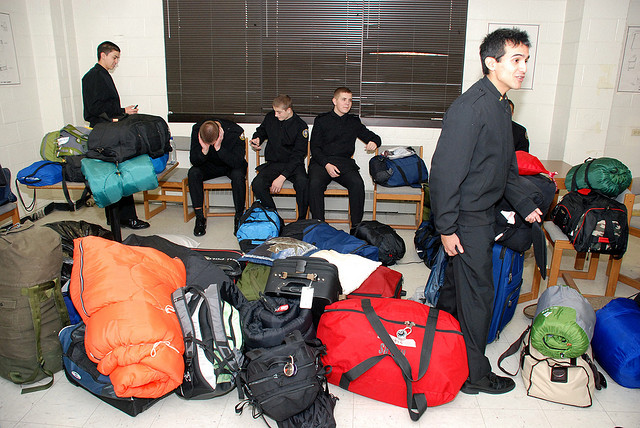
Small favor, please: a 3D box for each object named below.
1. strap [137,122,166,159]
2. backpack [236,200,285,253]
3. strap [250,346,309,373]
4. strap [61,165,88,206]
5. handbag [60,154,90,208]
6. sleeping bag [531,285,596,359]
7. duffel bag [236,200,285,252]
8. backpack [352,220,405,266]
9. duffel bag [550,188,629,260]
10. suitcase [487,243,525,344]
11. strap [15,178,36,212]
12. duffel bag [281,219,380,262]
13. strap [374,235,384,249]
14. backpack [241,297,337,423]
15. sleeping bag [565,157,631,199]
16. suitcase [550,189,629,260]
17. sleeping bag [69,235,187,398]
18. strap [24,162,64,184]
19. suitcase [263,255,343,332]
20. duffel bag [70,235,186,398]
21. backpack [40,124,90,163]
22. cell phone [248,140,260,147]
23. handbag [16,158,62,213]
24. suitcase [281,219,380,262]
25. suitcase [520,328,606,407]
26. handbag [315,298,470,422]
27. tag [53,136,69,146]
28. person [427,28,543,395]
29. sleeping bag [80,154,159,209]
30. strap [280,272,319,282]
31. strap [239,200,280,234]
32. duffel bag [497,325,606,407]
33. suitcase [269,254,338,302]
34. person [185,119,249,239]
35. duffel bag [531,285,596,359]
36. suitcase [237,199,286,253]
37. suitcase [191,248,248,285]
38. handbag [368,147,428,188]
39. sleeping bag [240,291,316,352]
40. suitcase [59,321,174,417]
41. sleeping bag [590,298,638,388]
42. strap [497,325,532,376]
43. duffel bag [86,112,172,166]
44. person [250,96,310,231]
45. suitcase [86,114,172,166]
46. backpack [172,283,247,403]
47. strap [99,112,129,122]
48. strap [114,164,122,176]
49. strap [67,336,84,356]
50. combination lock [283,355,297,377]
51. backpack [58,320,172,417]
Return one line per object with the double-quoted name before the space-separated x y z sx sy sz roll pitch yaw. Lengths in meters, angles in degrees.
"strap" -1.481 -0.666 4.071 0.308 0.298 0.213 17 25 34
"backpack" -0.658 0.033 4.680 0.490 0.606 0.699 1 28 -3
"strap" -0.262 0.929 2.804 0.266 0.107 0.164 -17 4 3
"strap" -2.349 -0.272 4.188 0.286 0.433 0.116 -5 -7 -20
"handbag" -2.411 -0.339 4.344 0.154 0.444 0.325 -12 -4 35
"sleeping bag" 1.680 0.761 3.067 0.412 0.374 0.639 7 16 21
"duffel bag" -0.629 0.114 4.437 0.496 0.505 0.356 -5 11 3
"backpack" 0.590 0.277 4.546 0.345 0.257 0.487 -15 41 -25
"duffel bag" 2.294 0.031 3.739 0.466 0.478 0.637 0 25 2
"suitcase" 1.367 0.599 3.370 0.183 0.776 0.474 16 27 40
"strap" -3.193 -0.218 4.788 0.176 0.373 0.050 0 8 7
"duffel bag" 0.090 0.231 4.238 0.691 0.231 0.448 28 12 28
"strap" 0.578 0.275 4.411 0.064 0.114 0.029 17 -21 17
"backpack" -0.210 0.958 2.941 0.489 0.758 0.294 -24 6 26
"sleeping bag" 2.369 -0.269 3.782 0.361 0.373 0.386 23 -21 -26
"suitcase" 2.223 0.041 3.778 0.452 0.467 0.624 1 32 4
"sleeping bag" -1.284 0.582 3.146 0.946 0.411 1.197 11 41 -39
"strap" -2.701 -0.420 4.335 0.290 0.169 0.051 -35 9 -17
"suitcase" -0.135 0.478 3.362 0.467 0.314 0.387 5 -6 13
"duffel bag" -1.262 0.583 3.153 0.956 0.416 1.187 7 43 -39
"backpack" -2.520 -0.697 4.384 0.546 0.427 0.228 0 -11 -1
"cell phone" -0.789 -0.837 5.211 0.103 0.025 0.030 35 -1 -23
"handbag" -3.026 -0.318 4.731 0.397 0.582 0.174 -3 -18 27
"suitcase" 0.094 0.234 4.227 0.710 0.235 0.442 29 15 27
"suitcase" 1.700 0.989 3.174 0.544 0.407 0.595 -3 29 21
"handbag" 0.481 0.933 3.019 0.873 0.464 0.679 10 44 12
"tag" -2.520 -0.718 4.346 0.073 0.075 0.027 11 -5 5
"person" 1.021 0.014 2.995 0.581 2.349 0.731 3 21 14
"sleeping bag" -1.796 -0.308 3.983 0.595 0.416 0.261 -10 22 -21
"strap" -0.152 0.448 3.204 0.269 0.044 0.050 1 21 8
"strap" -0.636 0.059 4.672 0.235 0.344 0.328 -2 44 10
"duffel bag" 1.578 1.098 3.000 0.520 0.196 0.550 5 24 19
"suitcase" -0.116 0.389 3.258 0.421 0.323 0.308 3 41 20
"person" -1.186 -0.474 5.113 0.728 1.201 0.668 -9 21 -17
"duffel bag" 1.753 0.717 3.166 0.413 0.246 0.647 7 30 31
"suitcase" -0.633 0.066 4.772 0.489 0.637 0.712 0 -3 2
"suitcase" -0.828 0.410 3.852 0.313 0.148 0.567 -19 26 -39
"handbag" 0.882 -0.552 5.150 0.660 0.366 0.385 -7 21 -14
"sleeping bag" -0.313 0.735 3.041 0.362 0.226 0.464 -1 13 6
"suitcase" -1.450 1.048 3.015 0.649 0.238 0.521 25 32 21
"sleeping bag" 2.075 0.940 3.136 0.308 0.317 0.386 15 32 10
"strap" 1.426 1.020 3.316 0.202 0.096 0.400 30 74 35
"duffel bag" -1.803 -0.727 4.161 0.543 0.403 0.725 3 17 22
"person" -0.470 -0.687 5.169 0.674 1.299 0.834 -3 20 -3
"suitcase" -1.764 -0.730 4.205 0.595 0.402 0.779 1 14 18
"backpack" -0.746 0.871 3.007 0.494 0.706 0.341 -1 20 3
"strap" -2.180 -1.023 4.652 0.357 0.131 0.271 9 16 43
"strap" -1.782 -0.396 3.902 0.053 0.077 0.018 -25 8 -38
"strap" -1.650 0.887 2.977 0.079 0.110 0.042 10 -2 -6
"combination lock" -0.188 0.970 2.769 0.083 0.073 0.048 -4 20 -5
"backpack" -1.456 1.056 3.256 0.833 0.378 0.693 -6 -2 45
